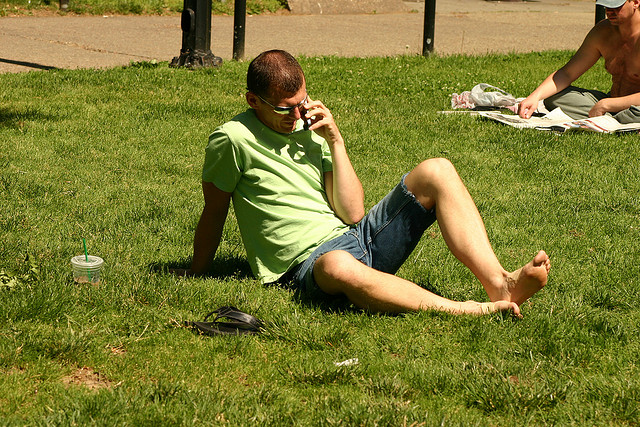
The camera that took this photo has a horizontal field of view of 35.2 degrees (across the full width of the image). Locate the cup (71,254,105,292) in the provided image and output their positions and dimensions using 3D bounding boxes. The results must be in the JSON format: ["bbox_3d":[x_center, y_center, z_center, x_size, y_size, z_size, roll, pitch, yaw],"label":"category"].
[{"bbox_3d":[-2.228,0.517,9.641,0.292,0.402,0.265,-7,19,-41],"label":"cup"}]
